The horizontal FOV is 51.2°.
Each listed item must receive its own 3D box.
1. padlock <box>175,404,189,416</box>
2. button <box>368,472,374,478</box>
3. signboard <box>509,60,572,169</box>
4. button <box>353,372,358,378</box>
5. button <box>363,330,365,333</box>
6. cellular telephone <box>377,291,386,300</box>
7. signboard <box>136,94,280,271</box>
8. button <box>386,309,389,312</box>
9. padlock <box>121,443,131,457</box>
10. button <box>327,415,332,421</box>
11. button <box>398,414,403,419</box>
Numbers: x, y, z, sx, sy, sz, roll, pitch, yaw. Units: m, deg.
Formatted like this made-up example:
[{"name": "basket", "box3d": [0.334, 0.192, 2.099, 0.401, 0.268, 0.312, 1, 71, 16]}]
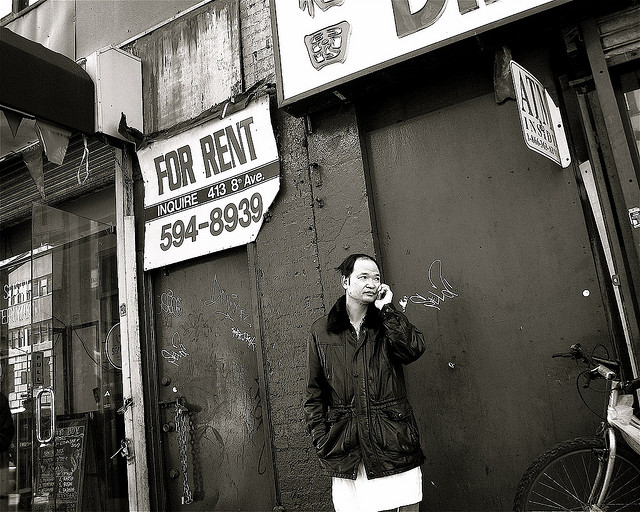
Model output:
[{"name": "padlock", "box3d": [-1.348, 1.445, 6.289, 0.149, 0.104, 0.050, -15, -17, 16]}, {"name": "button", "box3d": [0.301, 1.349, 4.110, 0.024, 0.032, 0.007, 6, -2, 13]}, {"name": "signboard", "box3d": [1.662, -1.069, 4.971, 0.629, 0.958, 0.110, 13, -25, -43]}, {"name": "button", "box3d": [0.212, 0.768, 4.305, 0.035, 0.036, 0.005, -17, -17, 26]}, {"name": "button", "box3d": [0.272, 0.494, 4.381, 0.011, 0.017, 0.006, -6, -15, -10]}, {"name": "cellular telephone", "box3d": [0.387, 0.257, 4.404, 0.034, 0.058, 0.016, 13, 5, 14]}, {"name": "signboard", "box3d": [-1.039, -0.659, 6.275, 1.249, 1.172, 0.152, -17, -17, 26]}, {"name": "button", "box3d": [0.426, 0.353, 4.355, 0.004, 0.020, 0.020, -6, -45, -20]}, {"name": "padlock", "box3d": [-1.890, 1.840, 6.318, 0.067, 0.116, 0.024, -6, -9, 23]}, {"name": "button", "box3d": [0.042, 1.045, 4.309, 0.024, 0.052, 0.027, 3, -1, -14]}, {"name": "button", "box3d": [0.495, 1.012, 4.206, 0.035, 0.031, 0.008, 1, -17, -33]}]
